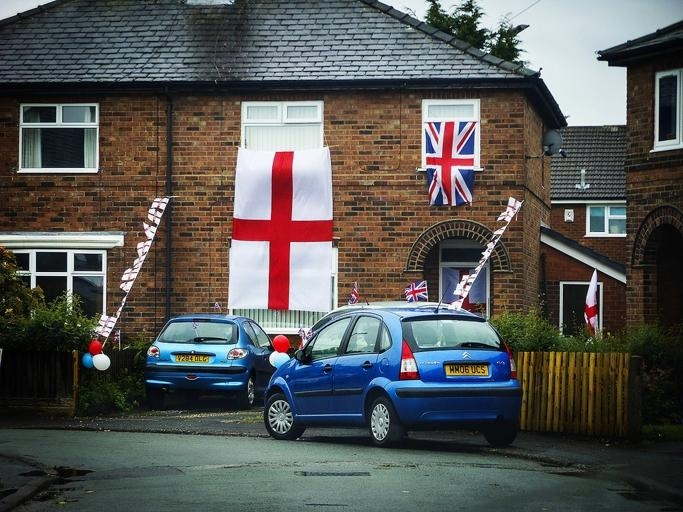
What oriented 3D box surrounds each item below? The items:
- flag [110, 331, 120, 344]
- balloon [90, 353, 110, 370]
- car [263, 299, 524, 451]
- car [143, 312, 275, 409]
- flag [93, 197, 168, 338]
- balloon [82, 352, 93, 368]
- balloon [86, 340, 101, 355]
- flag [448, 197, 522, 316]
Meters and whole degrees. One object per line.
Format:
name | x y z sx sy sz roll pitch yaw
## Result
flag | -5.568 1.996 29.827 0.088 0.352 0.332 36 -55 -23
balloon | -4.842 2.132 24.191 0.350 0.357 0.556 1 -4 -13
car | 0.714 1.874 20.111 2.224 1.777 3.704 4 -4 -34
car | -2.613 2.112 25.510 1.453 1.331 2.762 -1 -1 7
flag | -5.030 0.188 29.345 1.543 3.612 2.813 0 -4 -2
balloon | -5.052 2.101 23.987 0.228 0.287 0.239 0 6 -2
balloon | -4.974 1.857 24.246 0.266 0.308 0.445 1 -4 -12
flag | 3.538 -0.082 29.008 1.681 2.777 4.638 -1 -4 9
